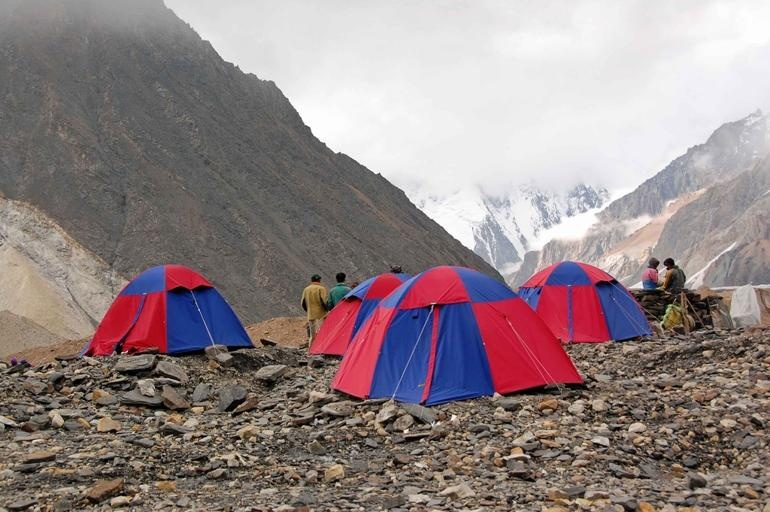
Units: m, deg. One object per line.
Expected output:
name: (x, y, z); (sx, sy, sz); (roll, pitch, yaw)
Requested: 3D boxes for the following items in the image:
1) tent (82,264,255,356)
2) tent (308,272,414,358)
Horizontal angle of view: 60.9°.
tent: (-6.280, 1.865, 20.216); (3.023, 1.633, 3.517); (-4, -10, 25)
tent: (-0.925, 1.931, 21.362); (2.916, 1.262, 2.891); (-3, 1, 23)
